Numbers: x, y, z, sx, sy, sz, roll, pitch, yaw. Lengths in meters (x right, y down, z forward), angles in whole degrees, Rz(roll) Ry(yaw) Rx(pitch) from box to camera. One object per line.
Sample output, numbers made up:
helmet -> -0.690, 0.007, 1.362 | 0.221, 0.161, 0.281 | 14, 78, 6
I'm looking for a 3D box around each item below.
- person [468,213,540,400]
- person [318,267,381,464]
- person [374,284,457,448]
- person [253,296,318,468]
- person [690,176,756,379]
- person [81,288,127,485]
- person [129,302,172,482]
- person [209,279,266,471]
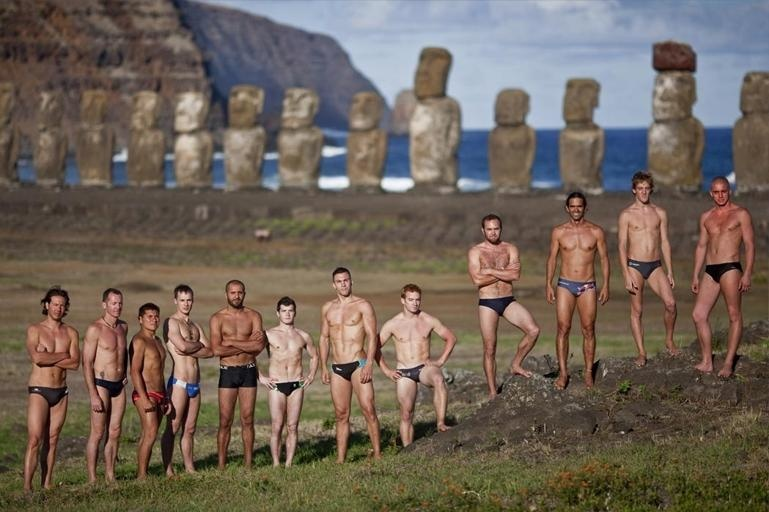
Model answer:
person -> 2.363, 0.973, 42.316 | 1.301, 3.604, 0.939 | -4, 0, 21
person -> -0.660, 2.182, 41.994 | 1.171, 3.812, 0.752 | -2, 10, 12
person -> 0.598, 2.151, 42.015 | 1.462, 3.159, 0.739 | -2, -4, -1
person -> -1.911, 2.587, 41.978 | 1.280, 3.387, 0.808 | -3, 11, -16
person -> 6.587, 0.413, 42.251 | 1.264, 3.953, 0.804 | -3, -5, 22
person -> -5.356, 2.539, 41.656 | 0.854, 3.746, 0.884 | -1, -4, -8
person -> -4.588, 2.545, 41.894 | 1.036, 3.119, 1.123 | 0, -4, -12
person -> -2.843, 2.307, 41.917 | 1.031, 3.677, 0.943 | -1, -4, -5
